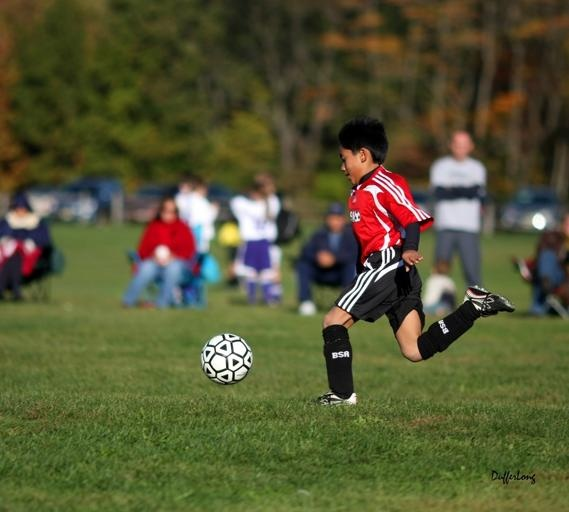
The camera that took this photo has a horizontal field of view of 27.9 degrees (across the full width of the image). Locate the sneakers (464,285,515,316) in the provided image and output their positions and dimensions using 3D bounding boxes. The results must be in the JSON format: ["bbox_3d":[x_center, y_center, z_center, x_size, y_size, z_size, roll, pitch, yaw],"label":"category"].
[{"bbox_3d":[1.299,0.282,7.331,0.253,0.111,0.175,14,3,-10],"label":"sneakers"}]

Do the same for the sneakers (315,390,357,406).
[{"bbox_3d":[0.324,0.895,7.205,0.243,0.101,0.092,4,-8,4],"label":"sneakers"}]
